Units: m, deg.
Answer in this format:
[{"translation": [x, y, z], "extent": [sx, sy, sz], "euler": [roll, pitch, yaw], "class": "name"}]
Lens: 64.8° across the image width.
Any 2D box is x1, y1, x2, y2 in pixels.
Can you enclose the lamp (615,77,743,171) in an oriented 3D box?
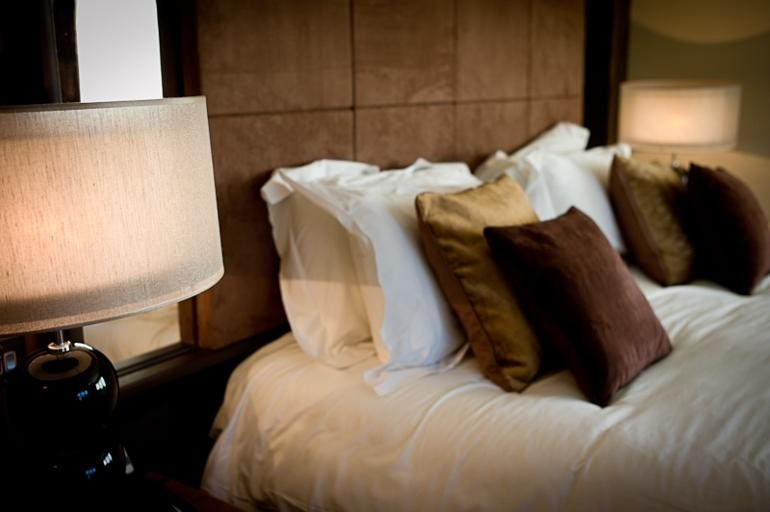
[{"translation": [1.729, -0.788, 3.576], "extent": [0.589, 0.487, 0.635], "euler": [-7, 18, -14], "class": "lamp"}]
